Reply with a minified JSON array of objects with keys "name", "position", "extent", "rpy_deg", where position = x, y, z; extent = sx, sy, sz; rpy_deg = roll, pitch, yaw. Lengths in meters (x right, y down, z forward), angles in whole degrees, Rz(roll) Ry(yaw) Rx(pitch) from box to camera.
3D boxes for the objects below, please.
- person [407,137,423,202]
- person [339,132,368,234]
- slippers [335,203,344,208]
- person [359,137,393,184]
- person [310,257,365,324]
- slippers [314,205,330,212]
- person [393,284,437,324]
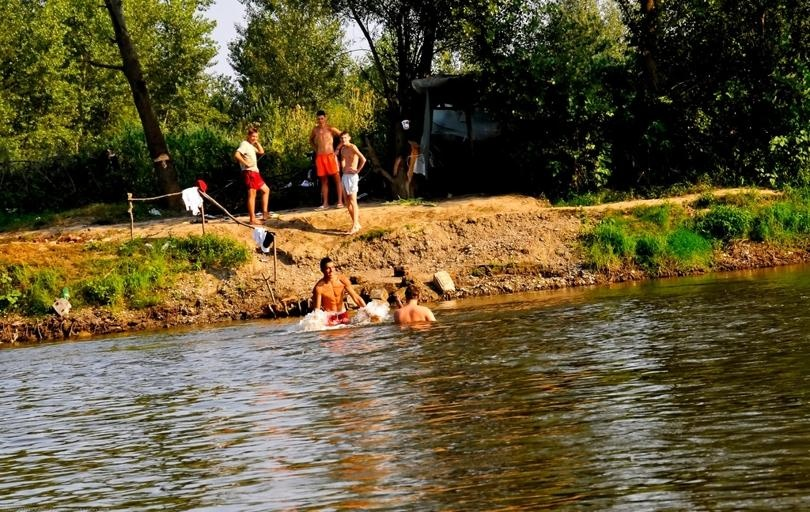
[{"name":"person","position":[0.296,-3.076,38.467],"extent":[0.529,2.052,1.242],"rpy_deg":[-7,15,-9]},{"name":"person","position":[-1.689,-2.428,35.206],"extent":[0.722,3.184,1.227],"rpy_deg":[-5,15,-3]},{"name":"slippers","position":[-2.248,-1.752,37.210],"extent":[0.208,0.136,0.513],"rpy_deg":[-4,2,-4]},{"name":"person","position":[-1.064,-3.451,39.741],"extent":[0.325,1.901,0.532],"rpy_deg":[-31,-9,9]},{"name":"person","position":[-1.964,1.063,31.446],"extent":[1.210,2.010,0.769],"rpy_deg":[-20,25,-25]},{"name":"slippers","position":[-2.797,-1.626,36.858],"extent":[0.597,0.239,0.197],"rpy_deg":[1,-3,-35]},{"name":"person","position":[0.203,1.359,29.682],"extent":[1.403,1.151,0.706],"rpy_deg":[2,17,0]}]
